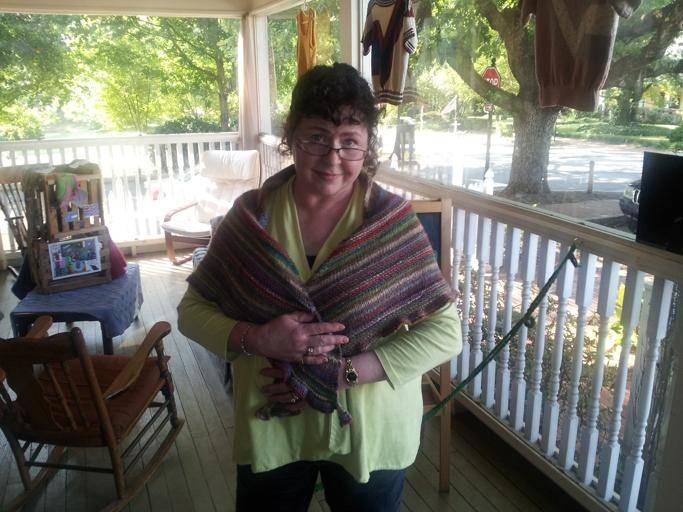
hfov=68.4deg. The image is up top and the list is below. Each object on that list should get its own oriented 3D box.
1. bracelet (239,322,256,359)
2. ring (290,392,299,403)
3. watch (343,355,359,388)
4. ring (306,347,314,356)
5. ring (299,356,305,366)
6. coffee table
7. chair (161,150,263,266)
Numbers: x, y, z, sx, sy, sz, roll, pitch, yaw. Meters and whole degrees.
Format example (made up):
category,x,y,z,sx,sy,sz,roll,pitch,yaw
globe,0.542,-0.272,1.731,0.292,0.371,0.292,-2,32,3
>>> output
category,x,y,z,sx,sy,sz,roll,pitch,yaw
bracelet,-0.270,0.231,1.396,0.030,0.074,0.061,-8,14,-24
ring,-0.131,0.387,1.376,0.021,0.032,0.010,-2,16,29
watch,0.023,0.317,1.357,0.036,0.068,0.059,-5,9,-8
ring,-0.087,0.253,1.349,0.021,0.025,0.013,-1,-2,6
ring,-0.106,0.281,1.360,0.006,0.024,0.017,14,2,-9
coffee table,-1.732,0.380,3.280,0.561,0.316,0.607,0,25,-9
chair,-1.425,-0.497,5.505,0.735,1.200,1.030,5,16,16
